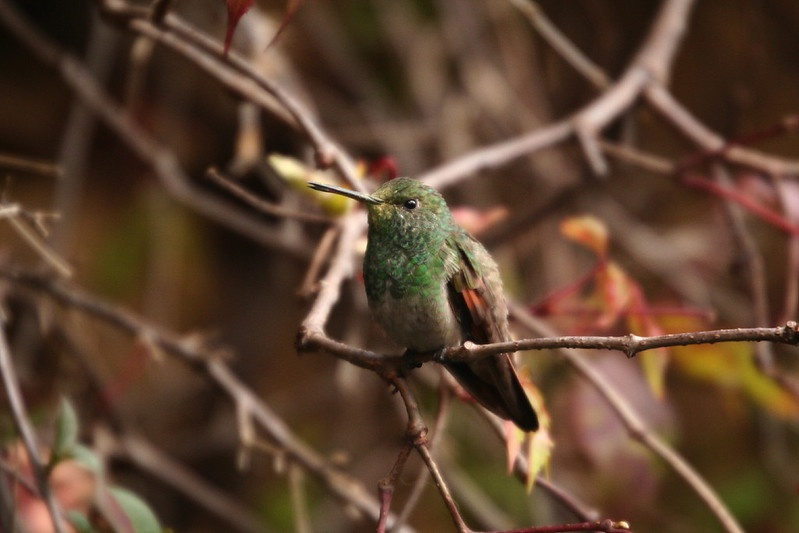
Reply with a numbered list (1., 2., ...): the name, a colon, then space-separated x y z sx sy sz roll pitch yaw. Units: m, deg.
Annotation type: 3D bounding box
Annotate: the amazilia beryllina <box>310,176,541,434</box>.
1. amazilia beryllina: 0.143 0.054 3.099 1.040 0.481 0.867 -5 -85 -43
